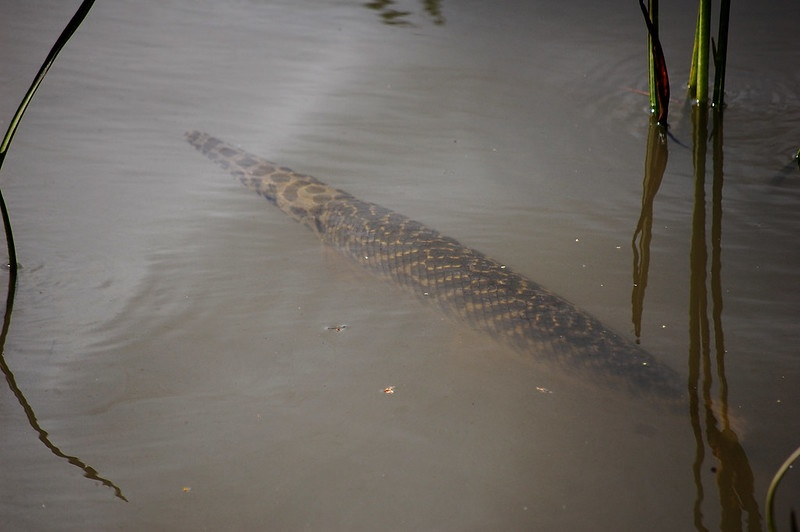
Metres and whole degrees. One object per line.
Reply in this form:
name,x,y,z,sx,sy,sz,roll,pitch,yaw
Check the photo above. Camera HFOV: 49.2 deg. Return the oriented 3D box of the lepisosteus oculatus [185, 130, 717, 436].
lepisosteus oculatus,0.219,0.107,3.589,2.130,0.358,0.210,25,53,17
